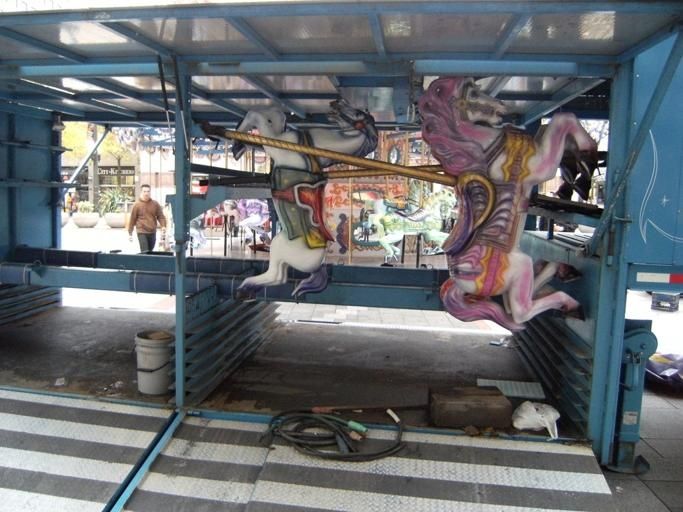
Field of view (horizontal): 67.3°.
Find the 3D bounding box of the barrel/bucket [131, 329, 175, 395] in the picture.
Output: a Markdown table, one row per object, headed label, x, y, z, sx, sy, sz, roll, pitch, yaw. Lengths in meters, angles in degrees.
| label | x | y | z | sx | sy | sz | roll | pitch | yaw |
| --- | --- | --- | --- | --- | --- | --- | --- | --- | --- |
| barrel/bucket | -2.206 | 1.274 | 6.077 | 0.415 | 0.638 | 0.620 | -1 | 10 | -18 |
